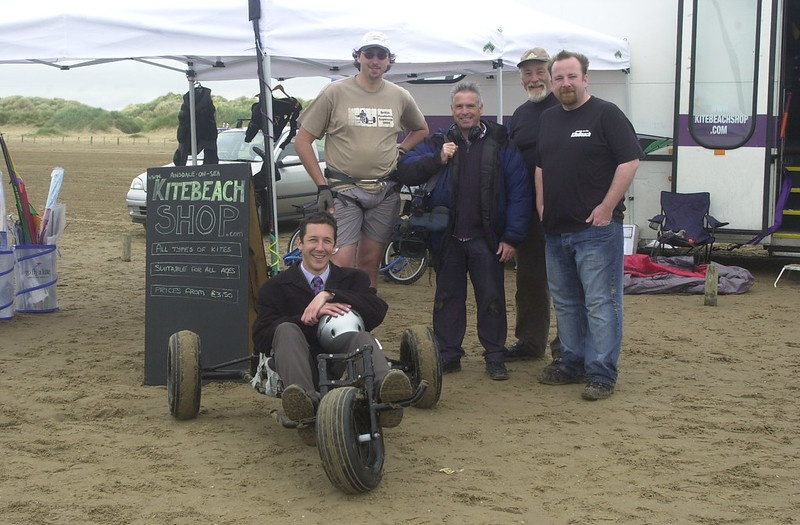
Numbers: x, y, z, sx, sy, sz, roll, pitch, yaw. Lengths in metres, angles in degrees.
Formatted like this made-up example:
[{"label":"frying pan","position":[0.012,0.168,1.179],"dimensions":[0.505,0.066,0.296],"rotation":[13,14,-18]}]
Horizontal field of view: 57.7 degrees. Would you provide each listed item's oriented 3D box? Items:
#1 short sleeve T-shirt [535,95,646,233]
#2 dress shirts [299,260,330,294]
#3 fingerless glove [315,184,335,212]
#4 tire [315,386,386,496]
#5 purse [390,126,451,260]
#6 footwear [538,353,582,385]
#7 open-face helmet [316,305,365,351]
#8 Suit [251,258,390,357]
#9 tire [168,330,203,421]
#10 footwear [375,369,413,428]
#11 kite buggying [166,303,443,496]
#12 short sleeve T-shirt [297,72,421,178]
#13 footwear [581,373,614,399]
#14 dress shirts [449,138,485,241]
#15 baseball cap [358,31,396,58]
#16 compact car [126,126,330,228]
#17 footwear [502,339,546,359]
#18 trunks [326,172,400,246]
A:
[{"label":"short sleeve T-shirt","position":[1.490,-0.868,6.155],"dimensions":[0.637,1.065,1.102],"rotation":[-14,14,-35]},{"label":"dress shirts","position":[-0.639,0.106,5.464],"dimensions":[0.187,0.237,0.117],"rotation":[2,-4,-9]},{"label":"fingerless glove","position":[-0.641,-0.551,6.262],"dimensions":[0.081,0.227,0.168],"rotation":[-2,-28,-32]},{"label":"tire","position":[-0.309,1.180,4.702],"dimensions":[0.471,0.718,0.322],"rotation":[-13,19,-39]},{"label":"purse","position":[0.161,-0.571,6.666],"dimensions":[0.685,1.044,0.390],"rotation":[-7,11,-22]},{"label":"footwear","position":[1.429,0.974,6.411],"dimensions":[0.454,0.190,0.184],"rotation":[2,2,-8]},{"label":"open-face helmet","position":[-0.459,0.471,5.297],"dimensions":[0.273,0.324,0.298],"rotation":[22,-2,-22]},{"label":"Suit","position":[-0.591,0.387,5.387],"dimensions":[0.648,0.549,0.500],"rotation":[-6,30,-6]},{"label":"tire","position":[-1.683,0.898,5.647],"dimensions":[0.261,0.742,0.704],"rotation":[0,-2,-15]},{"label":"footwear","position":[-0.048,0.926,4.891],"dimensions":[0.214,0.381,0.167],"rotation":[6,-4,-23]},{"label":"kite buggying","position":[-0.572,0.926,5.241],"dimensions":[1.486,0.613,1.486],"rotation":[2,2,-16]},{"label":"short sleeve T-shirt","position":[-0.301,-1.205,6.492],"dimensions":[1.069,0.871,0.477],"rotation":[-10,17,-34]},{"label":"footwear","position":[1.652,1.063,6.059],"dimensions":[0.136,0.138,0.327],"rotation":[-7,-12,41]},{"label":"dress shirts","position":[0.606,-0.623,6.401],"dimensions":[0.265,0.831,0.198],"rotation":[1,15,4]},{"label":"baseball cap","position":[-0.219,-1.956,6.401],"dimensions":[0.245,0.175,0.366],"rotation":[3,-5,-5]},{"label":"compact car","position":[-2.848,-1.575,12.802],"dimensions":[3.433,1.512,2.005],"rotation":[-2,4,-34]},{"label":"footwear","position":[1.198,0.844,7.072],"dimensions":[0.474,0.189,0.155],"rotation":[3,5,-4]},{"label":"trunks","position":[-0.352,-0.489,6.347],"dimensions":[0.633,0.798,0.309],"rotation":[5,7,-34]}]
